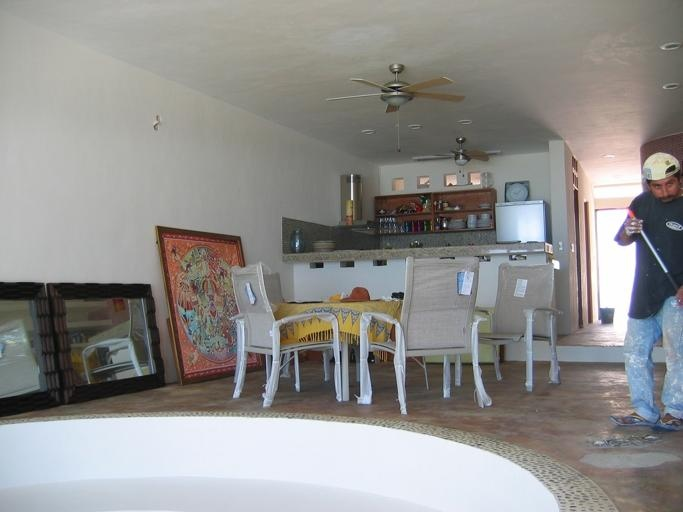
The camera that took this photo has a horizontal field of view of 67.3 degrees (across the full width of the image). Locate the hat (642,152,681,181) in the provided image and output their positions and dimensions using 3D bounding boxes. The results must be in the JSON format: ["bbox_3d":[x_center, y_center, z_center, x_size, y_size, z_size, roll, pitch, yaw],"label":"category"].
[{"bbox_3d":[2.207,-0.628,3.538,0.211,0.201,0.171,0,4,29],"label":"hat"}]

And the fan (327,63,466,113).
[{"bbox_3d":[0.793,-1.829,5.626,0.837,0.312,0.848,0,-3,-15],"label":"fan"}]

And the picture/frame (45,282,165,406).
[{"bbox_3d":[-2.265,0.820,5.062,0.097,1.150,1.204,-16,-10,26],"label":"picture/frame"}]

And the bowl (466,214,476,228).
[{"bbox_3d":[2.432,-0.662,9.566,0.223,0.230,0.169,-1,-3,18],"label":"bowl"}]

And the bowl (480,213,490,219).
[{"bbox_3d":[2.702,-0.774,9.621,0.126,0.094,0.128,-2,1,0],"label":"bowl"}]

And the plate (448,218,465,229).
[{"bbox_3d":[2.205,-0.637,9.807,0.221,0.143,0.223,-1,-12,3],"label":"plate"}]

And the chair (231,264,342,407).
[{"bbox_3d":[-0.503,0.680,4.706,0.966,1.180,0.960,0,-4,-5],"label":"chair"}]

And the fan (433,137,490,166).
[{"bbox_3d":[2.027,-1.713,8.440,0.721,0.307,0.680,-1,-5,0],"label":"fan"}]

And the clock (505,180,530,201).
[{"bbox_3d":[3.335,-1.271,9.734,0.431,0.389,0.325,-1,4,23],"label":"clock"}]

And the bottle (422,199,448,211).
[{"bbox_3d":[1.842,-1.041,10.053,0.486,0.273,0.337,-2,3,1],"label":"bottle"}]

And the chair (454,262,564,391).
[{"bbox_3d":[1.681,0.645,5.039,0.840,1.179,0.793,1,-4,-38],"label":"chair"}]

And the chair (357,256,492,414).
[{"bbox_3d":[0.695,0.645,4.385,1.113,1.237,0.931,-1,-7,-2],"label":"chair"}]

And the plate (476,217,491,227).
[{"bbox_3d":[2.652,-0.667,9.604,0.240,0.233,0.171,-1,-5,31],"label":"plate"}]

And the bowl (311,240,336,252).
[{"bbox_3d":[-0.286,-0.182,8.330,0.337,0.158,0.248,-2,3,-6],"label":"bowl"}]

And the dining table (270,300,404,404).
[{"bbox_3d":[-0.012,0.727,4.430,0.981,0.313,0.999,-7,36,4],"label":"dining table"}]

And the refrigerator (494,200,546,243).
[{"bbox_3d":[3.218,-0.536,9.280,0.873,0.810,0.655,0,-19,10],"label":"refrigerator"}]
